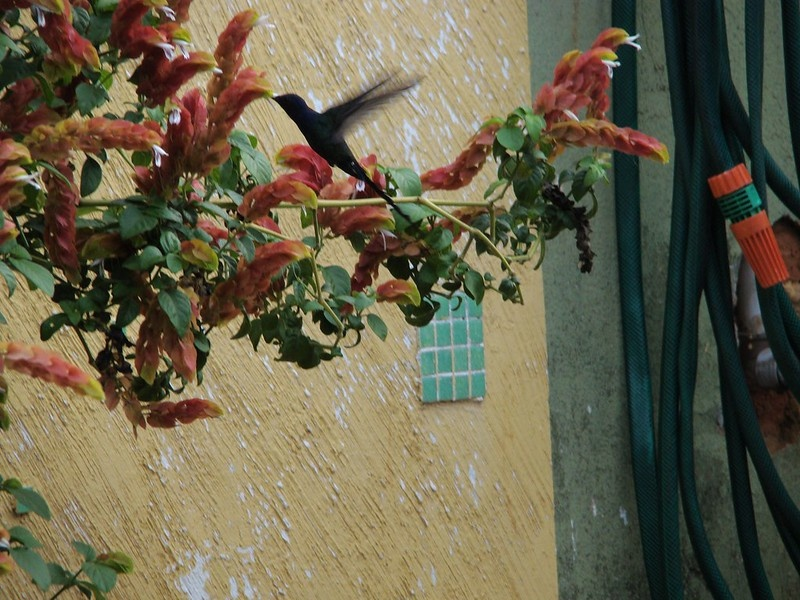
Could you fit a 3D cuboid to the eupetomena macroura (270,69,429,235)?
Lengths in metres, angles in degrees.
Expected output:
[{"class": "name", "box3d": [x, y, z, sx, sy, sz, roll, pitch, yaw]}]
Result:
[{"class": "eupetomena macroura", "box3d": [-0.078, -0.271, 3.594, 0.307, 0.157, 0.268, 25, -1, -32]}]
